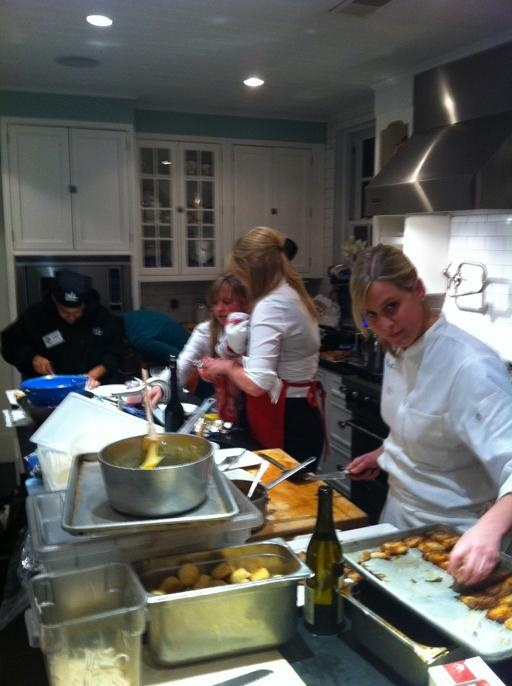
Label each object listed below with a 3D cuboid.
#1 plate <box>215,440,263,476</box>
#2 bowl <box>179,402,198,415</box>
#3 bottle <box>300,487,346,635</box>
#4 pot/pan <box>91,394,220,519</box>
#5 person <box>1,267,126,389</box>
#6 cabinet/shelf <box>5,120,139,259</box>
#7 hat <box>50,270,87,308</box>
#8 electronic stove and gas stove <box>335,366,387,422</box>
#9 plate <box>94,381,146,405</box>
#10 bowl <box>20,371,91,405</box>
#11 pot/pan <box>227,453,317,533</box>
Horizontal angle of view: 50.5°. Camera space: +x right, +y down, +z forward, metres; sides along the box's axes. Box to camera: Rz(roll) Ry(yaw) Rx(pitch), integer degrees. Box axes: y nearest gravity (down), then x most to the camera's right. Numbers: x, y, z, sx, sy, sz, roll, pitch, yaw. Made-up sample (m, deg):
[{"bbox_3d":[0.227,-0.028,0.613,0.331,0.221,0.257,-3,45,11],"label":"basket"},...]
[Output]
[{"bbox_3d":[-0.063,0.341,1.606,0.098,0.013,0.095,-11,16,-41],"label":"plate"},{"bbox_3d":[-0.263,0.270,2.203,0.057,0.015,0.056,1,16,0],"label":"bowl"},{"bbox_3d":[0.124,0.375,0.971,0.071,0.232,0.132,1,9,7],"label":"bottle"},{"bbox_3d":[-0.152,0.205,0.863,0.189,0.091,0.199,-6,10,-37],"label":"pot/pan"},{"bbox_3d":[-1.258,-0.113,3.588,0.781,0.978,0.553,-5,45,-20],"label":"person"},{"bbox_3d":[-1.417,-1.173,4.066,1.201,1.053,0.471,-2,5,-20],"label":"cabinet/shelf"},{"bbox_3d":[-1.186,-0.351,3.498,0.224,0.231,0.306,-2,8,-13],"label":"hat"},{"bbox_3d":[0.616,0.298,3.164,0.232,0.153,0.339,-6,12,-22],"label":"electronic stove and gas stove"},{"bbox_3d":[-0.563,0.206,2.249,0.169,0.050,0.111,-1,12,-2],"label":"plate"},{"bbox_3d":[-0.803,0.182,2.109,0.193,0.055,0.181,1,12,0],"label":"bowl"},{"bbox_3d":[0.040,0.369,1.329,0.186,0.052,0.236,-2,13,-7],"label":"pot/pan"}]
